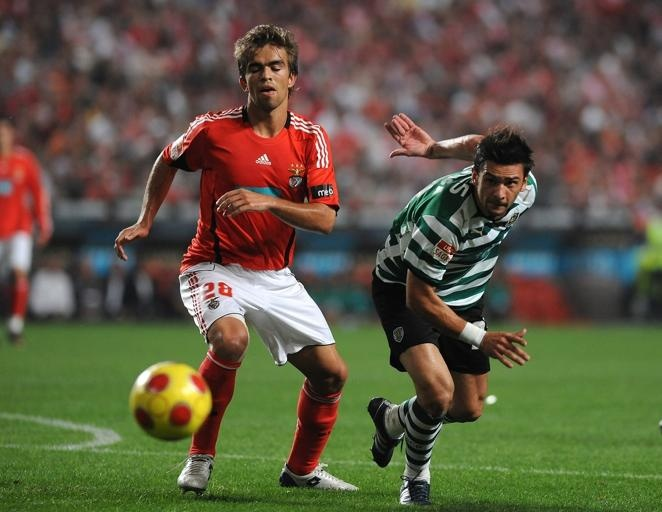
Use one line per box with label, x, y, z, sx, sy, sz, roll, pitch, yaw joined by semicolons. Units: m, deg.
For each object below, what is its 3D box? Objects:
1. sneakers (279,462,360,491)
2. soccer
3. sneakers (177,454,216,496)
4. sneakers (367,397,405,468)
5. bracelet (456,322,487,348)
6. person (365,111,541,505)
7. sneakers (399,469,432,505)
sneakers;-0.083;1.581;6.277;0.605;0.254;0.214;3;-7;-1
soccer;-1.071;0.917;5.696;0.495;0.522;0.500;2;-2;0
sneakers;-0.962;1.508;5.999;0.230;0.170;0.287;7;4;-8
sneakers;0.429;1.331;6.588;0.195;0.610;0.262;-15;19;-33
bracelet;0.991;0.500;5.879;0.196;0.203;0.075;1;19;21
person;0.842;0.396;6.162;0.888;2.173;1.419;5;4;-28
sneakers;0.595;1.635;5.988;0.217;0.158;0.277;8;4;6
